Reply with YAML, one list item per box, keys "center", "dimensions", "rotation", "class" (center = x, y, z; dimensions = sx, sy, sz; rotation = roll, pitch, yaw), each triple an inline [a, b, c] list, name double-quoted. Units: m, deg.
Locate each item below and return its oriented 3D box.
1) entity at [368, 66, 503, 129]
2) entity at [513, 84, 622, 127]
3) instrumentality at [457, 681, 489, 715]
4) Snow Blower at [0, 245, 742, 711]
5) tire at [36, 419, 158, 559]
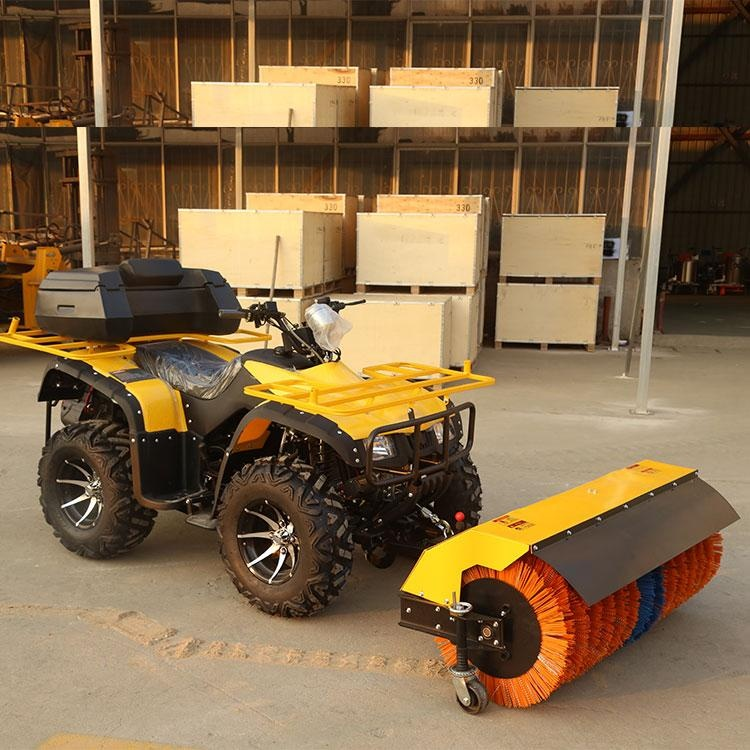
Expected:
- center: [0.980, -4.328, 12.488]
  dimensions: [1.743, 0.545, 1.473]
  rotation: [2, 8, 10]
  class: "entity"
- center: [3.228, -4.465, 13.261]
  dimensions: [1.435, 0.467, 0.901]
  rotation: [2, 10, 7]
  class: "entity"
- center: [0.398, 1.258, 3.146]
  dimensions: [0.120, 0.158, 0.101]
  rotation: [3, 13, 8]
  class: "instrumentality"
- center: [-0.445, 0.150, 4.346]
  dimensions: [4.050, 1.348, 2.118]
  rotation: [7, 12, 32]
  class: "Snow Blower"
- center: [-1.577, 0.652, 4.516]
  dimensions: [0.931, 0.737, 0.287]
  rotation: [9, 8, 31]
  class: "tire"
